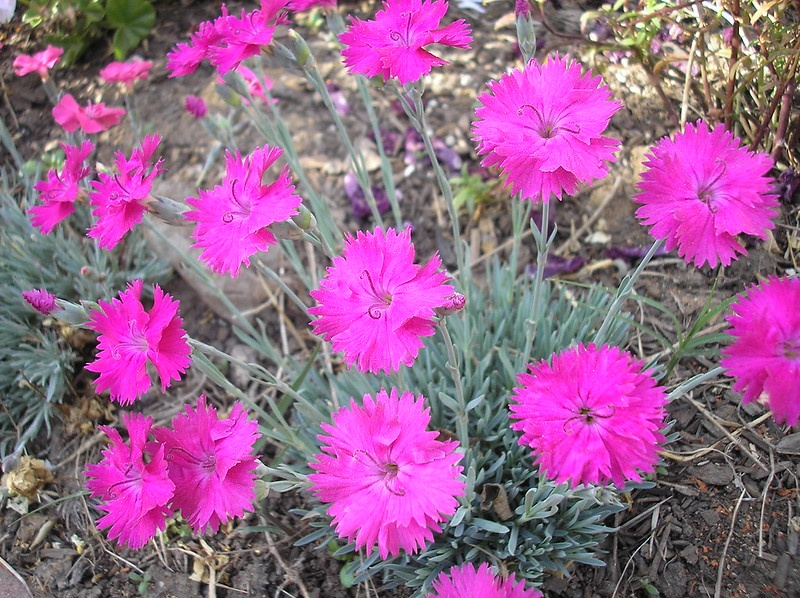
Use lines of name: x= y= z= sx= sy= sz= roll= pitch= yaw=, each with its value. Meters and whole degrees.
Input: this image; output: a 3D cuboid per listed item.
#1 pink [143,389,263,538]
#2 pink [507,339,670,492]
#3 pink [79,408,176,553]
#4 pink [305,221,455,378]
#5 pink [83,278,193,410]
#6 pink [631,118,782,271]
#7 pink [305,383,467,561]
pink: x=-0.608 y=0.485 z=2.304 sx=0.346 sy=0.189 sz=0.402 roll=5 pitch=17 yaw=25
pink: x=0.552 y=0.378 z=2.232 sx=0.439 sy=0.406 sz=0.411 roll=5 pitch=56 yaw=10
pink: x=-0.866 y=0.569 z=2.367 sx=0.409 sy=0.150 sz=0.407 roll=-53 pitch=53 yaw=18
pink: x=-0.082 y=-0.059 z=2.339 sx=0.489 sy=0.519 sz=0.270 roll=19 pitch=75 yaw=49
pink: x=-0.813 y=0.115 z=2.332 sx=0.312 sy=0.158 sz=0.323 roll=-26 pitch=42 yaw=-19
pink: x=0.943 y=-0.366 z=2.305 sx=0.397 sy=0.434 sz=0.197 roll=4 pitch=84 yaw=10
pink: x=-0.054 y=0.526 z=2.218 sx=0.446 sy=0.193 sz=0.531 roll=-9 pitch=81 yaw=11
